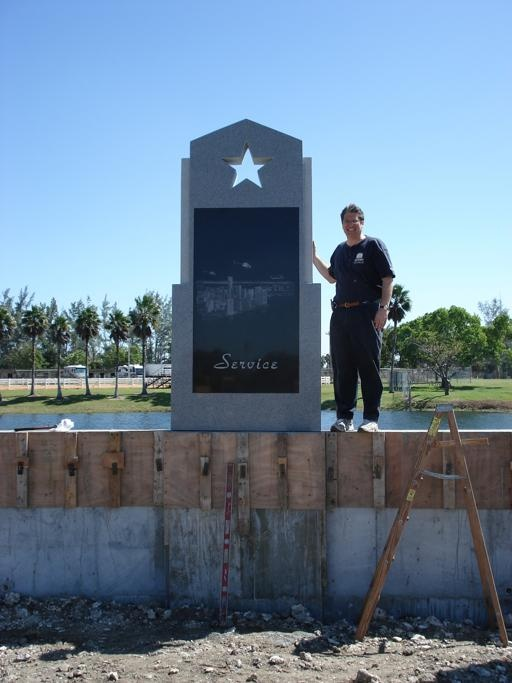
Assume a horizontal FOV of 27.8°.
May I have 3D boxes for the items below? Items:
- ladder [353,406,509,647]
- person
[{"bbox_3d":[1.470,1.472,8.648,1.243,1.921,0.933,1,-1,7],"label":"ladder"},{"bbox_3d":[0.920,-0.209,9.302,0.606,1.368,0.542,1,-1,13],"label":"person"}]
